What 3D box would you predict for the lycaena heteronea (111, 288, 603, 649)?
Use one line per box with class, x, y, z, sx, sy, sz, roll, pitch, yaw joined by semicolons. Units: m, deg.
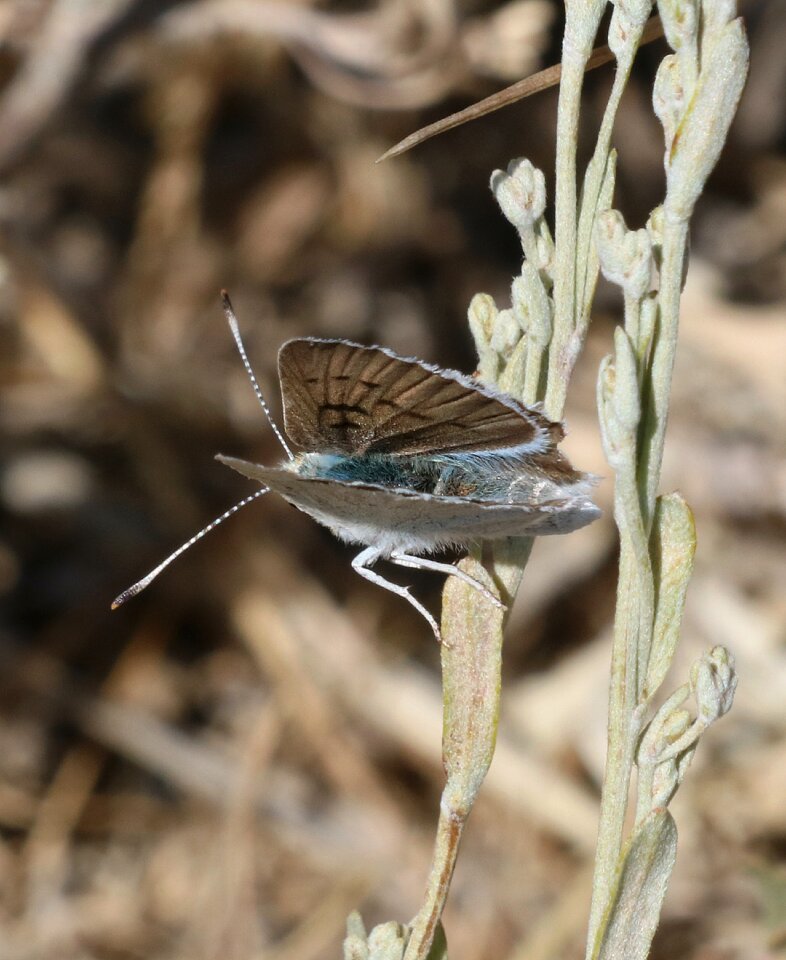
lycaena heteronea;-0.010;0.021;0.798;0.298;0.105;0.256;-4;26;29
